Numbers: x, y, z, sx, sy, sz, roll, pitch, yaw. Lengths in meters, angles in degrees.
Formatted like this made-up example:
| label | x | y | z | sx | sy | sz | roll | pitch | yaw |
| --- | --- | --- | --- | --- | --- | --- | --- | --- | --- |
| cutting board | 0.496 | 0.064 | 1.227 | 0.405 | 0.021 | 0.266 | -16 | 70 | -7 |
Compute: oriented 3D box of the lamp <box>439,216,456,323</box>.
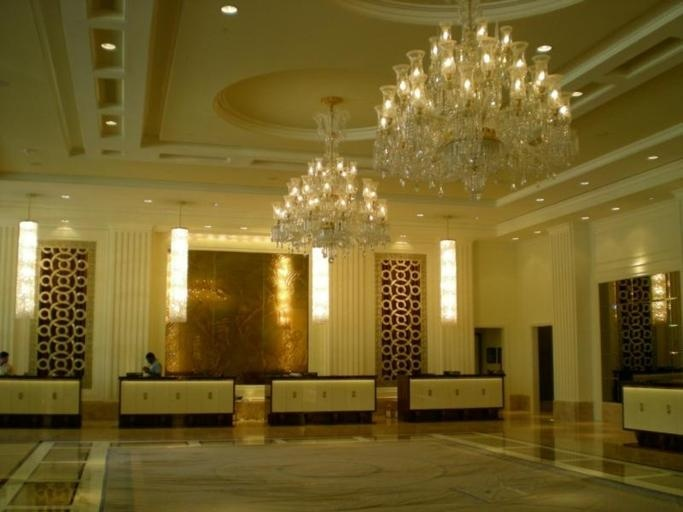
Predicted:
| label | x | y | z | sx | sy | sz | roll | pitch | yaw |
| --- | --- | --- | --- | --- | --- | --- | --- | --- | --- |
| lamp | 2.725 | 0.391 | 14.792 | 0.418 | 2.656 | 1.049 | -1 | -7 | 10 |

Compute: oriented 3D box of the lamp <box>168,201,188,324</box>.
| label | x | y | z | sx | sy | sz | roll | pitch | yaw |
| --- | --- | --- | --- | --- | --- | --- | --- | --- | --- |
| lamp | -3.751 | 0.193 | 13.237 | 0.403 | 2.648 | 1.738 | 2 | -7 | -16 |

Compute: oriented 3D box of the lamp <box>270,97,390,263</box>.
| label | x | y | z | sx | sy | sz | roll | pitch | yaw |
| --- | --- | --- | --- | --- | --- | --- | --- | --- | --- |
| lamp | -0.155 | -1.076 | 9.605 | 1.474 | 2.467 | 1.484 | -6 | -9 | 43 |

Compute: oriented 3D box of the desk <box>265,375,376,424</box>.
| label | x | y | z | sx | sy | sz | roll | pitch | yaw |
| --- | --- | --- | --- | --- | --- | --- | --- | --- | --- |
| desk | -0.446 | 3.312 | 13.578 | 2.464 | 1.244 | 0.921 | 1 | 5 | -5 |

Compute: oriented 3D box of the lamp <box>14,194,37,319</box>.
| label | x | y | z | sx | sy | sz | roll | pitch | yaw |
| --- | --- | --- | --- | --- | --- | --- | --- | --- | --- |
| lamp | -6.592 | 0.301 | 12.041 | 0.335 | 1.935 | 0.748 | 3 | -7 | -28 |
